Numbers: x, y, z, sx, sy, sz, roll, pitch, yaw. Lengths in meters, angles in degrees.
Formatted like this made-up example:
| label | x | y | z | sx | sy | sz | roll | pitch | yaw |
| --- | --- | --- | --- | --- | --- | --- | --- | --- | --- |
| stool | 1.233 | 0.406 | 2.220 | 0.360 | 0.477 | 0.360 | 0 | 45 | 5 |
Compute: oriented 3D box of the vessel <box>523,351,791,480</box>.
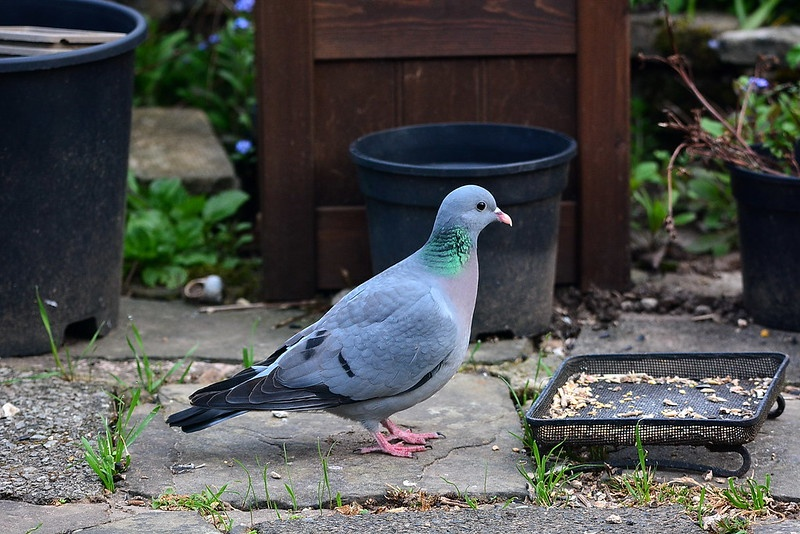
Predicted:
| label | x | y | z | sx | sy | sz | roll | pitch | yaw |
| --- | --- | --- | --- | --- | --- | --- | --- | --- | --- |
| vessel | 1.071 | 0.596 | 4.011 | 1.091 | 0.362 | 0.663 | 3 | 14 | 8 |
